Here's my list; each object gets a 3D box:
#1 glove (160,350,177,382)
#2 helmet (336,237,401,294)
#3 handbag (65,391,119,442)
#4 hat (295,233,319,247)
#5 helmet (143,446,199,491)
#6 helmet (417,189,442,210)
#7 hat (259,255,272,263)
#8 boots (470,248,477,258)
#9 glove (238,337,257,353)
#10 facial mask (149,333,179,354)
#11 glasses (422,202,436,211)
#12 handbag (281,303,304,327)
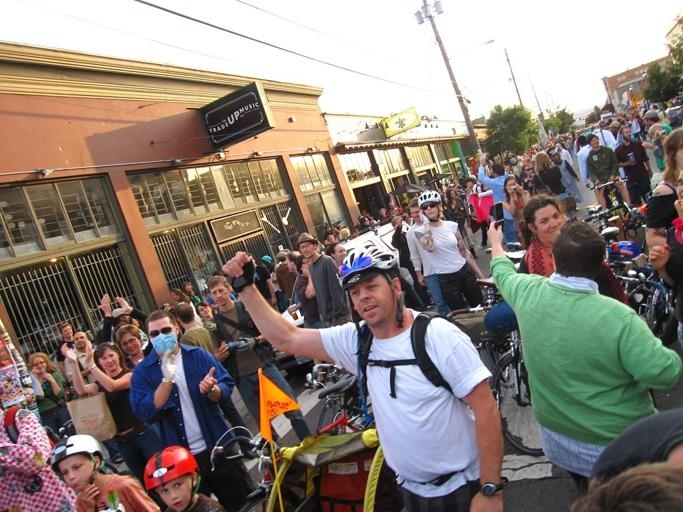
[{"bbox_3d":[-1.460,0.950,3.956,0.078,0.262,0.196,-7,-3,-2],"label":"glove"},{"bbox_3d":[0.148,0.055,2.665,0.223,0.170,0.346,-7,2,32],"label":"helmet"},{"bbox_3d":[-2.569,1.718,4.854,0.347,0.565,0.357,-20,8,-31],"label":"handbag"},{"bbox_3d":[-0.510,-0.203,6.966,0.277,0.202,0.263,-16,7,-4],"label":"hat"},{"bbox_3d":[-1.268,1.544,3.430,0.273,0.293,0.375,-24,-23,38],"label":"helmet"},{"bbox_3d":[1.322,-0.820,7.143,0.279,0.338,0.367,1,44,31],"label":"helmet"},{"bbox_3d":[-2.029,0.117,12.386,0.335,0.230,0.442,0,-3,-5],"label":"hat"},{"bbox_3d":[3.454,-0.046,12.293,0.163,0.225,0.164,-31,21,35],"label":"boots"},{"bbox_3d":[-1.047,1.015,5.209,0.190,0.142,0.156,-16,7,-2],"label":"glove"},{"bbox_3d":[-1.565,0.785,4.115,0.175,0.119,0.210,-10,-10,-6],"label":"facial mask"},{"bbox_3d":[1.276,-0.718,6.917,0.103,0.103,0.033,-18,-20,19],"label":"glasses"},{"bbox_3d":[-0.870,1.068,8.447,0.274,0.354,0.818,-17,7,-9],"label":"handbag"}]
